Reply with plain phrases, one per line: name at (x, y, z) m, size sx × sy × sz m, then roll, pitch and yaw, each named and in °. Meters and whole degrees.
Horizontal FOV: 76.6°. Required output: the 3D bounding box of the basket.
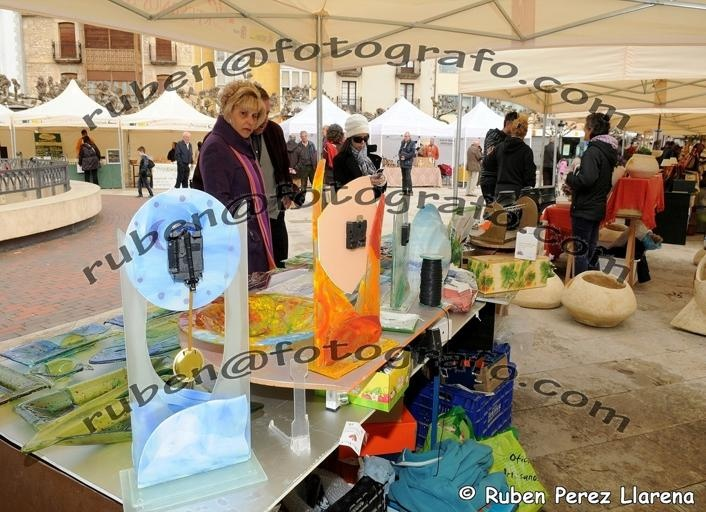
basket at (0.782, 0.912, 2.882) m, size 0.502 × 0.317 × 0.670 m, roll -14°, pitch -2°, yaw -1°

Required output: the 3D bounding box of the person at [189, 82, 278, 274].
person at (-0.692, -0.463, 2.619) m, size 0.420 × 1.084 × 0.458 m, roll -4°, pitch 15°, yaw -19°

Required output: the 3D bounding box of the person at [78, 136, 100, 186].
person at (-8.673, -3.170, 14.615) m, size 0.601 × 1.575 × 0.845 m, roll -8°, pitch 17°, yaw -32°

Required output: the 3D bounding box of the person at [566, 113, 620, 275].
person at (2.754, -0.686, 5.187) m, size 0.620 × 1.896 × 0.355 m, roll -7°, pitch 17°, yaw -29°

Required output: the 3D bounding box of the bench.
bench at (3.349, -0.030, 5.715) m, size 0.708 × 1.048 × 0.710 m, roll 21°, pitch 12°, yaw 37°

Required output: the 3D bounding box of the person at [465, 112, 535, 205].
person at (1.954, -1.163, 5.499) m, size 0.575 × 1.090 × 0.998 m, roll 4°, pitch 15°, yaw 10°

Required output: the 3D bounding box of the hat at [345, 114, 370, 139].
hat at (0.041, -1.210, 4.184) m, size 0.196 × 0.200 × 0.230 m, roll -17°, pitch 31°, yaw -20°
